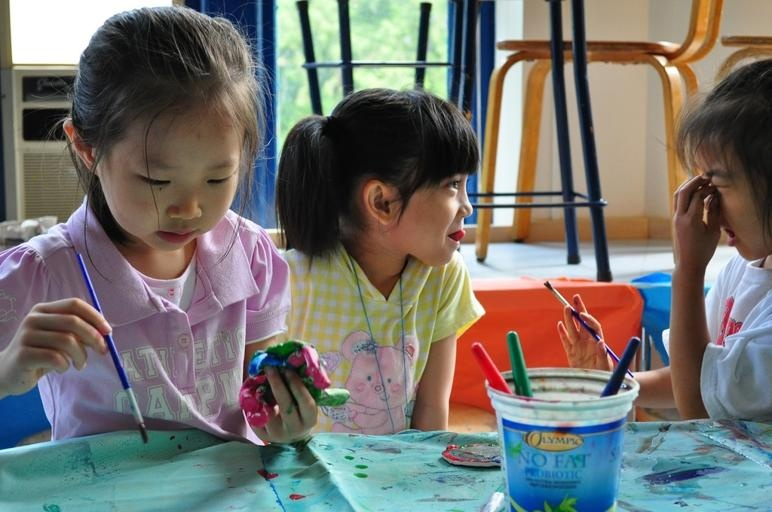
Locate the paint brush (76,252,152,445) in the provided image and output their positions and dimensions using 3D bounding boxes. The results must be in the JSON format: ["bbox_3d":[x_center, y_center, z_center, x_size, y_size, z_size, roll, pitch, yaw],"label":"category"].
[{"bbox_3d":[-0.457,0.160,1.226,0.024,0.332,0.017,-18,-4,-1],"label":"paint brush"}]

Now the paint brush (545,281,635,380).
[{"bbox_3d":[0.439,0.155,1.603,0.018,0.326,0.046,-43,6,22],"label":"paint brush"}]
